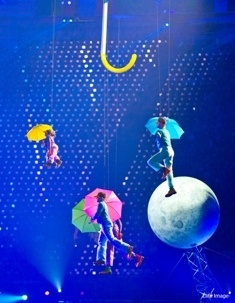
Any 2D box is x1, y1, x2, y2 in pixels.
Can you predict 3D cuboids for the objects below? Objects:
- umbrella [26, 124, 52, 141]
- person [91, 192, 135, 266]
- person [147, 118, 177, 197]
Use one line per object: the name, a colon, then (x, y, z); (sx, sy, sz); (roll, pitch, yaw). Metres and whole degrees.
umbrella: (-0.797, -0.185, 5.095); (0.252, 0.172, 0.110); (-14, 38, -18)
person: (-0.060, 0.870, 4.924); (0.382, 0.849, 0.601); (-3, 36, -4)
person: (0.449, 0.057, 4.998); (0.300, 0.757, 0.533); (1, 36, 3)
